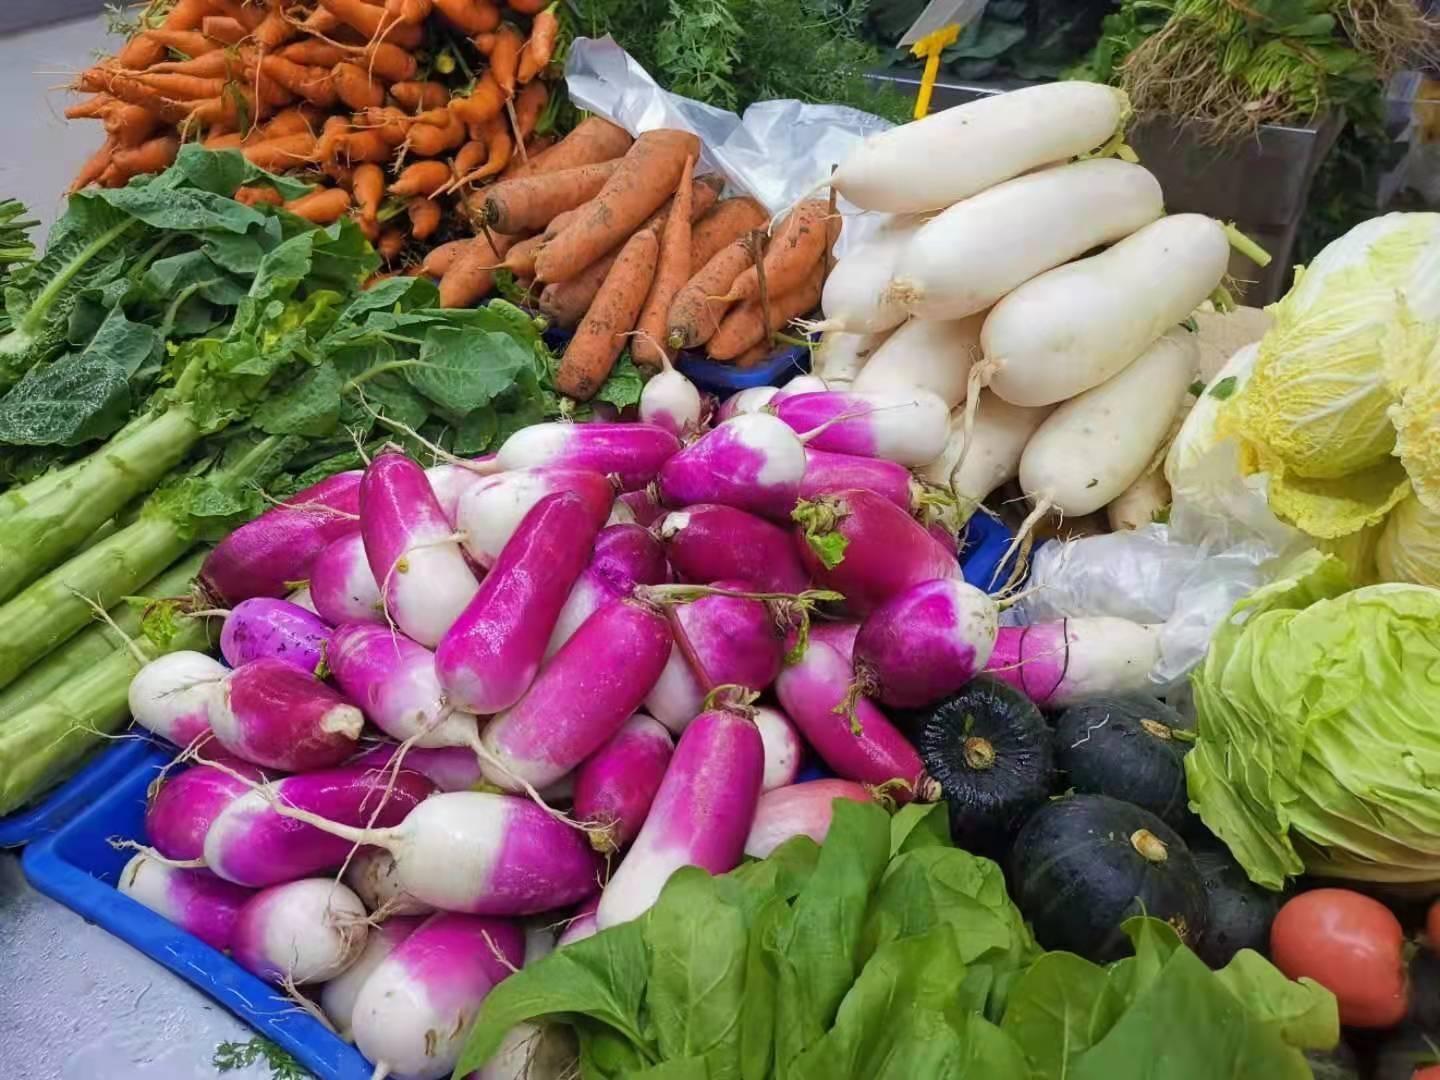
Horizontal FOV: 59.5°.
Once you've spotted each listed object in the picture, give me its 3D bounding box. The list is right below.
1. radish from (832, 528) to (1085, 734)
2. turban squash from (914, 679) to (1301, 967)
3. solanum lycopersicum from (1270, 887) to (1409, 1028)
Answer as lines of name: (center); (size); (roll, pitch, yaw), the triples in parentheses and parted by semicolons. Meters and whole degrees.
radish: (0.373, 0.157, 2.018); (0.335, 0.127, 0.156); (-31, 40, 3)
turban squash: (0.573, 0.491, 2.016); (0.489, 0.204, 0.433); (30, 33, -3)
solanum lycopersicum: (0.933, 0.608, 1.878); (0.152, 0.167, 0.220); (8, 56, -13)
